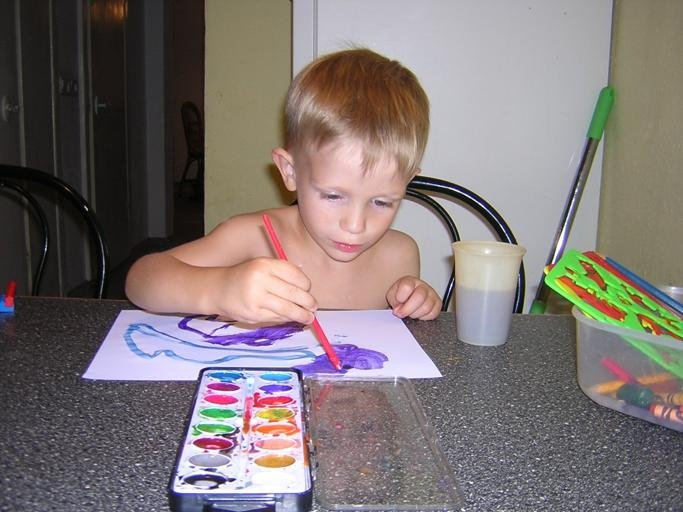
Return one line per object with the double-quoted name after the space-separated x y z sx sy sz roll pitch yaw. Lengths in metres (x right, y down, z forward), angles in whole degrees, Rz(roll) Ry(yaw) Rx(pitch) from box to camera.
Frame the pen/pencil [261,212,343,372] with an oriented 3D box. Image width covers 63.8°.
-0.067 0.062 0.956 0.020 0.277 0.015 -26 -4 3 "pen/pencil"
